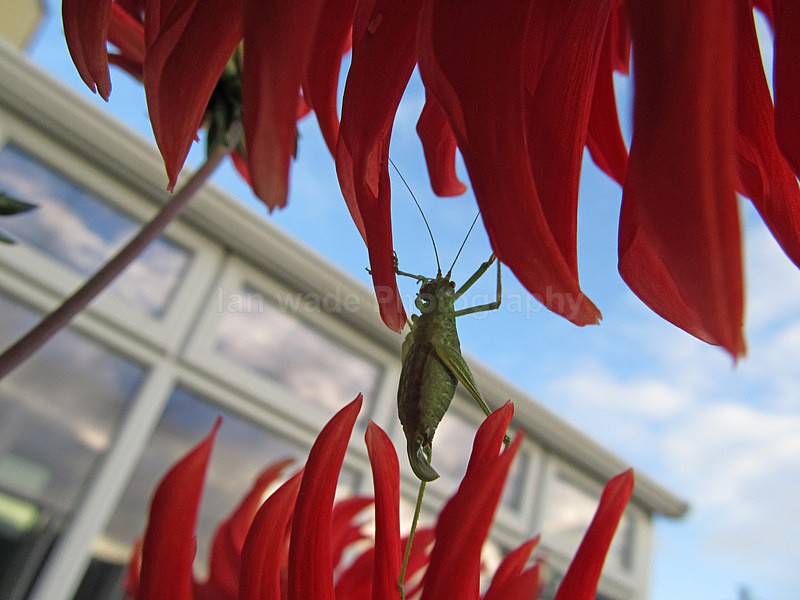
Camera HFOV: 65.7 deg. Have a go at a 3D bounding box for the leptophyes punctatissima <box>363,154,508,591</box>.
[{"bbox_3d":[0.016,0.032,0.291,0.045,0.184,0.063,6,-17,-10],"label":"leptophyes punctatissima"}]
